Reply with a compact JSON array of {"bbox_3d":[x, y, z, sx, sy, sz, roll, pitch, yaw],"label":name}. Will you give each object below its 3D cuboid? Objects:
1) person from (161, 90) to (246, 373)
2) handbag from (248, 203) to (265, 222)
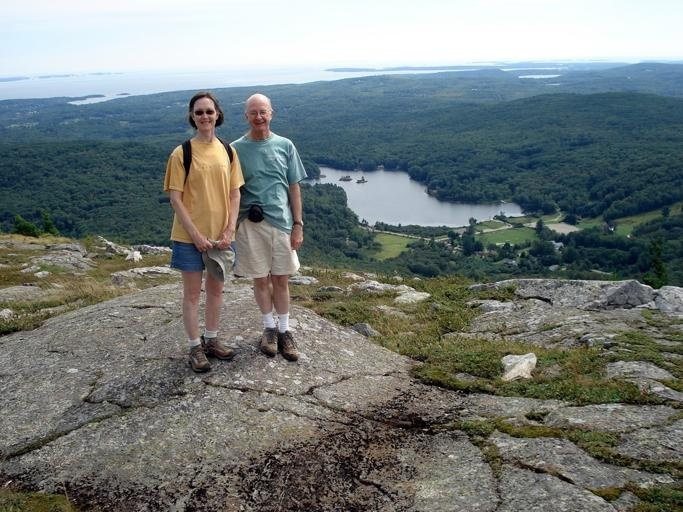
[{"bbox_3d":[-1.749,-0.286,6.285,0.941,3.551,0.570,-5,11,-21],"label":"person"},{"bbox_3d":[-1.151,-0.569,6.445,0.242,0.200,0.084,5,-7,0],"label":"handbag"}]
